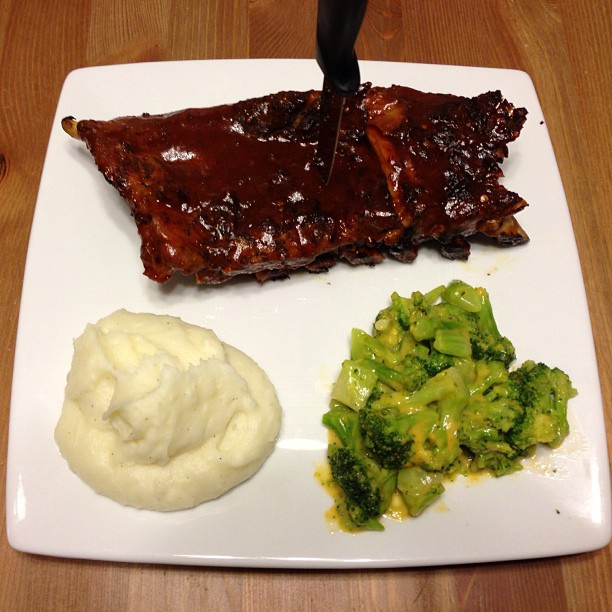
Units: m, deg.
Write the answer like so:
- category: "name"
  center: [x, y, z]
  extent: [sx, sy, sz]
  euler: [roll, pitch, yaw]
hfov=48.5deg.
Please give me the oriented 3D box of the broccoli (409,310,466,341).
- category: "broccoli"
  center: [0.683, 0.095, 3.618]
  extent: [0.283, 0.068, 0.123]
  euler: [-8, 66, -14]

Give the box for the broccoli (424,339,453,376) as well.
- category: "broccoli"
  center: [0.704, 0.276, 3.606]
  extent: [0.158, 0.067, 0.167]
  euler: [-4, 74, 8]

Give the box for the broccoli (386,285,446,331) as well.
- category: "broccoli"
  center: [0.661, -0.034, 3.763]
  extent: [0.403, 0.081, 0.235]
  euler: [-19, 33, -22]

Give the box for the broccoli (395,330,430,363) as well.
- category: "broccoli"
  center: [0.567, 0.228, 3.673]
  extent: [0.192, 0.055, 0.169]
  euler: [22, 82, 2]
